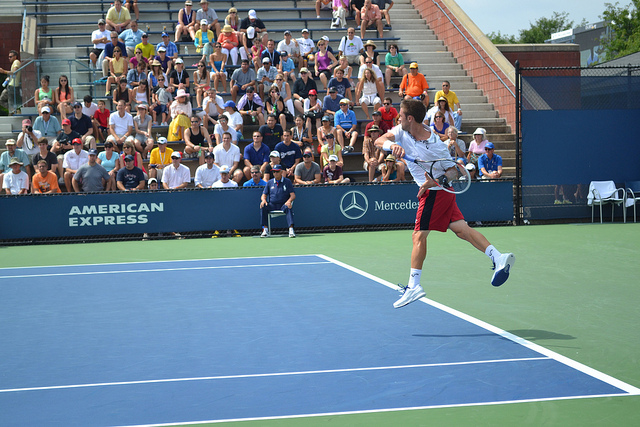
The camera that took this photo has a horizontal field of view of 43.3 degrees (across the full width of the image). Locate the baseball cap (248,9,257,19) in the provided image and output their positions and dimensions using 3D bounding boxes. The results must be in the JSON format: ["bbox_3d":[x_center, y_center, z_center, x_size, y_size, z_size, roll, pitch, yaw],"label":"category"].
[{"bbox_3d":[-2.199,-6.516,26.175,0.231,0.159,0.415,1,47,-13],"label":"baseball cap"}]

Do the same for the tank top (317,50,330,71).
[{"bbox_3d":[0.080,-4.755,25.233,0.411,0.566,0.216,5,14,22],"label":"tank top"}]

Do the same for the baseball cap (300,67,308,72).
[{"bbox_3d":[-0.473,-4.244,23.859,0.336,0.175,0.541,1,9,-3],"label":"baseball cap"}]

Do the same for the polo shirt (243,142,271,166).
[{"bbox_3d":[-1.695,-1.488,21.620,0.813,0.842,0.472,0,-2,-6],"label":"polo shirt"}]

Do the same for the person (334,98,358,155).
[{"bbox_3d":[0.713,-2.462,22.715,0.627,1.483,1.195,0,14,1],"label":"person"}]

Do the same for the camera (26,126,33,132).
[{"bbox_3d":[-7.899,-2.312,22.064,0.113,0.166,0.300,0,14,3],"label":"camera"}]

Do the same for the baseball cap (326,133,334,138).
[{"bbox_3d":[0.265,-2.091,21.749,0.201,0.120,0.310,0,15,1],"label":"baseball cap"}]

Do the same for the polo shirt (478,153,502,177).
[{"bbox_3d":[4.570,-1.355,22.031,0.781,0.906,0.472,-1,0,1],"label":"polo shirt"}]

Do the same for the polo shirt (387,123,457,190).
[{"bbox_3d":[1.683,-0.977,13.043,0.718,1.349,0.330,-23,-2,23],"label":"polo shirt"}]

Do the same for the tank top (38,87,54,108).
[{"bbox_3d":[-8.261,-3.604,24.358,0.382,0.315,0.489,-5,15,-20],"label":"tank top"}]

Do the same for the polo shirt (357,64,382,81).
[{"bbox_3d":[1.513,-4.150,24.519,0.693,0.573,0.383,-2,3,-1],"label":"polo shirt"}]

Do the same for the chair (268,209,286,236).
[{"bbox_3d":[-1.114,0.224,20.443,0.486,0.637,0.606,0,1,4],"label":"chair"}]

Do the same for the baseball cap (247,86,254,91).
[{"bbox_3d":[-2.021,-3.564,23.265,0.143,0.187,0.224,-3,16,-1],"label":"baseball cap"}]

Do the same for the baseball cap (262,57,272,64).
[{"bbox_3d":[-1.502,-4.512,23.744,0.233,0.197,0.420,2,-2,6],"label":"baseball cap"}]

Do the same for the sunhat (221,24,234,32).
[{"bbox_3d":[-2.891,-5.831,25.409,0.344,0.232,0.496,-2,15,-5],"label":"sunhat"}]

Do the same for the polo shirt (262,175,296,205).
[{"bbox_3d":[-1.043,-0.536,20.261,0.793,0.833,0.471,1,-11,1],"label":"polo shirt"}]

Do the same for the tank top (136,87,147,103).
[{"bbox_3d":[-5.117,-3.426,23.340,0.271,0.418,0.211,0,-3,-8],"label":"tank top"}]

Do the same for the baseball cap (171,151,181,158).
[{"bbox_3d":[-3.702,-1.507,20.785,0.215,0.147,0.338,-5,15,-16],"label":"baseball cap"}]

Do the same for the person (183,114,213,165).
[{"bbox_3d":[-3.357,-2.066,22.190,0.767,1.245,1.242,-3,14,-11],"label":"person"}]

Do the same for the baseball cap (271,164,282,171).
[{"bbox_3d":[-1.053,-1.147,19.979,0.214,0.134,0.323,-2,15,-8],"label":"baseball cap"}]

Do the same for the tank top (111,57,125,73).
[{"bbox_3d":[-6.121,-4.473,24.723,0.446,0.689,0.345,0,-7,-11],"label":"tank top"}]

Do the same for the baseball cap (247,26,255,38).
[{"bbox_3d":[-2.165,-5.757,25.701,0.325,0.309,0.188,-12,17,-38],"label":"baseball cap"}]

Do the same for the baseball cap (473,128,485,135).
[{"bbox_3d":[4.450,-2.303,22.671,0.322,0.226,0.527,-1,7,14],"label":"baseball cap"}]

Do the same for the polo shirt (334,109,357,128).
[{"bbox_3d":[0.716,-2.655,23.037,0.686,0.735,0.415,-1,-1,-4],"label":"polo shirt"}]

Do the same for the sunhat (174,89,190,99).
[{"bbox_3d":[-3.882,-3.341,22.689,0.331,0.261,0.513,-3,15,-12],"label":"sunhat"}]

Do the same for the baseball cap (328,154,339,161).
[{"bbox_3d":[0.350,-1.469,21.508,0.273,0.200,0.600,0,15,3],"label":"baseball cap"}]

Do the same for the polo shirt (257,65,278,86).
[{"bbox_3d":[-1.590,-4.174,24.216,0.796,0.741,0.461,-2,5,-12],"label":"polo shirt"}]

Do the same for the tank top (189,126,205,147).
[{"bbox_3d":[-3.400,-2.163,22.417,0.463,0.793,0.389,-2,-5,-10],"label":"tank top"}]

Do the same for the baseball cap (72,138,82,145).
[{"bbox_3d":[-6.351,-1.889,21.041,0.175,0.150,0.311,-1,-12,-5],"label":"baseball cap"}]

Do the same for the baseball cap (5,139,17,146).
[{"bbox_3d":[-7.973,-1.845,20.977,0.230,0.139,0.356,-2,0,-8],"label":"baseball cap"}]

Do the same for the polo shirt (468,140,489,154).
[{"bbox_3d":[4.348,-1.822,22.409,0.477,0.387,0.291,-1,-4,14],"label":"polo shirt"}]

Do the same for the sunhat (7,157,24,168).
[{"bbox_3d":[-7.847,-1.316,20.890,0.321,0.329,0.702,-7,16,-25],"label":"sunhat"}]

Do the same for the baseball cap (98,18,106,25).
[{"bbox_3d":[-7.028,-6.201,26.073,0.255,0.174,0.363,-1,10,-12],"label":"baseball cap"}]

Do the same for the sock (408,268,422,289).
[{"bbox_3d":[1.516,1.032,13.062,0.185,0.291,0.326,1,14,7],"label":"sock"}]

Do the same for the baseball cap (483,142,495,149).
[{"bbox_3d":[4.560,-1.831,21.764,0.217,0.149,0.376,3,5,15],"label":"baseball cap"}]

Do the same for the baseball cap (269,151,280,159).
[{"bbox_3d":[-1.165,-1.511,20.689,0.218,0.192,0.447,-3,15,-9],"label":"baseball cap"}]

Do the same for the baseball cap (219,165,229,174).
[{"bbox_3d":[-2.467,-1.116,20.871,0.229,0.201,0.340,-2,14,-8],"label":"baseball cap"}]

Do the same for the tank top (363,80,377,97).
[{"bbox_3d":[1.483,-3.710,24.252,0.462,0.721,0.377,0,3,5],"label":"tank top"}]

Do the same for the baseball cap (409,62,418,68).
[{"bbox_3d":[2.835,-4.482,24.464,0.225,0.155,0.384,1,9,15],"label":"baseball cap"}]

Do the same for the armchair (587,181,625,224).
[{"bbox_3d":[7.567,-0.256,21.817,0.966,1.350,0.848,0,-3,-10],"label":"armchair"}]

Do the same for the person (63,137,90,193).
[{"bbox_3d":[-6.395,-1.261,21.198,0.642,1.398,1.387,-5,14,-19],"label":"person"}]

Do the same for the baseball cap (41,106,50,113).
[{"bbox_3d":[-7.661,-2.902,22.572,0.222,0.162,0.336,-5,15,-19],"label":"baseball cap"}]

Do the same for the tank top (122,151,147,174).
[{"bbox_3d":[-4.871,-1.350,21.288,0.385,0.546,0.551,-1,8,-5],"label":"tank top"}]

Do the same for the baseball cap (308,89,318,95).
[{"bbox_3d":[-0.206,-3.484,23.152,0.192,0.168,0.344,0,1,4],"label":"baseball cap"}]

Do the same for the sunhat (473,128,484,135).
[{"bbox_3d":[4.463,-2.317,22.774,0.342,0.255,0.558,0,5,14],"label":"sunhat"}]
